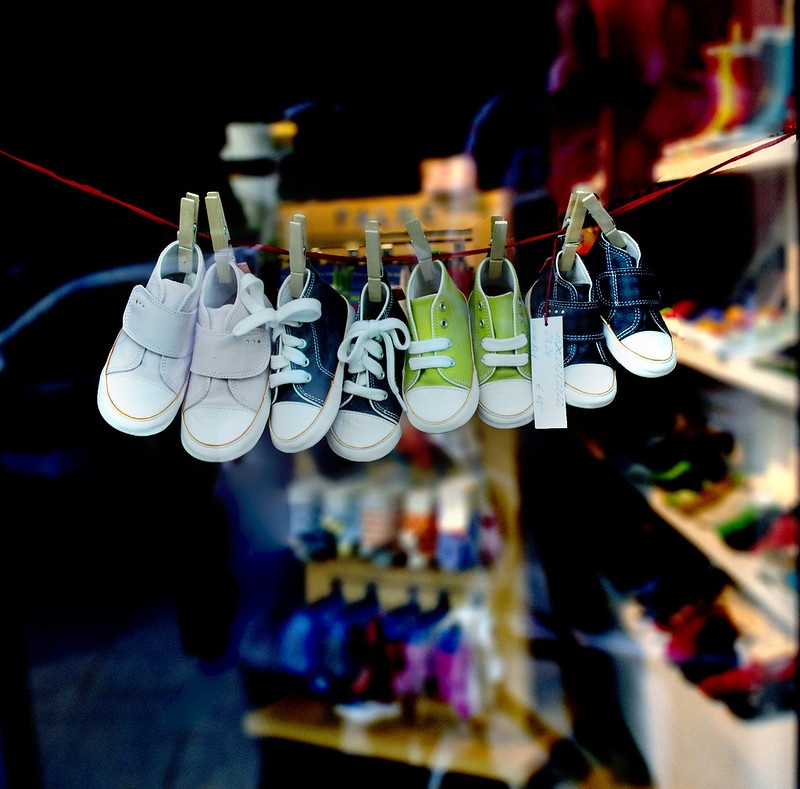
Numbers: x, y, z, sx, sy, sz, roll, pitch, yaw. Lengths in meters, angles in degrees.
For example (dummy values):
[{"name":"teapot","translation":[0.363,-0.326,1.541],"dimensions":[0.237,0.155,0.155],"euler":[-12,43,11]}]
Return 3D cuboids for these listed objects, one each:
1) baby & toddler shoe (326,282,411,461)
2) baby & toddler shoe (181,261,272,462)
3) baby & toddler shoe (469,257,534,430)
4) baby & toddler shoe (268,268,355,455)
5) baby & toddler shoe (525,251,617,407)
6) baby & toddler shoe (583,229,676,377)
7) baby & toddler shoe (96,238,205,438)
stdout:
[{"name":"baby & toddler shoe","translation":[-0.044,-0.017,1.183],"dimensions":[0.104,0.122,0.331],"euler":[1,74,5]},{"name":"baby & toddler shoe","translation":[-0.261,-0.029,1.154],"dimensions":[0.110,0.130,0.357],"euler":[0,86,1]},{"name":"baby & toddler shoe","translation":[0.162,-0.060,1.192],"dimensions":[0.084,0.108,0.301],"euler":[-1,78,10]},{"name":"baby & toddler shoe","translation":[-0.135,-0.052,1.198],"dimensions":[0.093,0.121,0.333],"euler":[-3,74,20]},{"name":"baby & toddler shoe","translation":[0.267,-0.109,1.221],"dimensions":[0.090,0.114,0.318],"euler":[-5,73,-1]},{"name":"baby & toddler shoe","translation":[0.334,-0.175,1.210],"dimensions":[0.086,0.112,0.296],"euler":[-10,62,-8]},{"name":"baby & toddler shoe","translation":[-0.372,-0.093,1.172],"dimensions":[0.102,0.116,0.322],"euler":[8,49,-3]}]
